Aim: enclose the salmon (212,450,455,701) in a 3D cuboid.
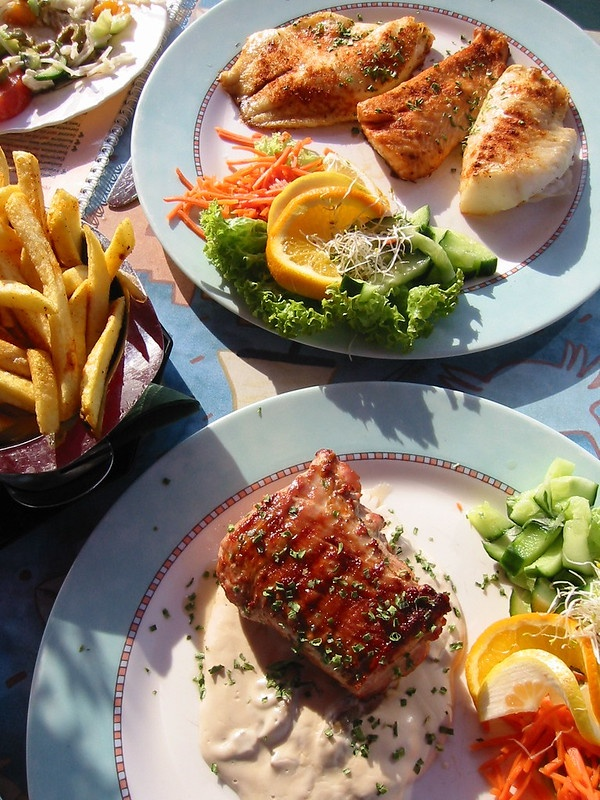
[{"bbox_3d":[0.117,0.591,2.222,0.555,0.349,0.690,-38,62,-24],"label":"salmon"}]
